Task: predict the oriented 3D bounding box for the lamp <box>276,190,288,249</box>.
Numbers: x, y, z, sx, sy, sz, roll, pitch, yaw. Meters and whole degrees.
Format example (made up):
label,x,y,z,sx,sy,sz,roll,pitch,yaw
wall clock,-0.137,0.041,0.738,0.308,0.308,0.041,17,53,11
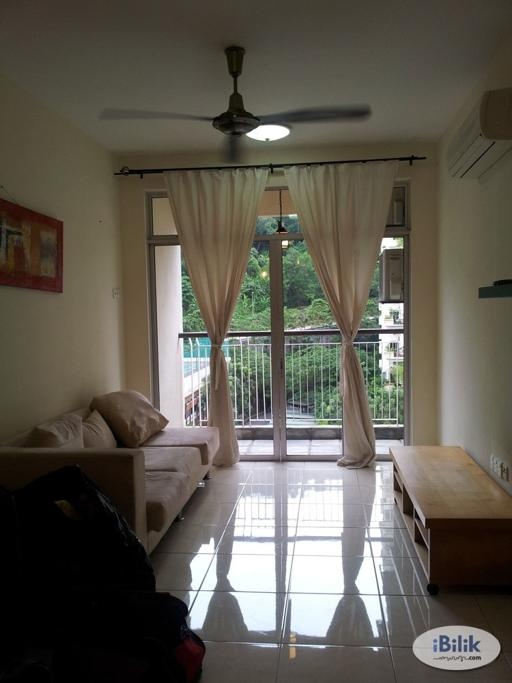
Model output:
label,x,y,z,sx,sy,sz,roll,pitch,yaw
lamp,0.205,-0.998,4.113,0.089,0.484,0.106,-2,1,10
